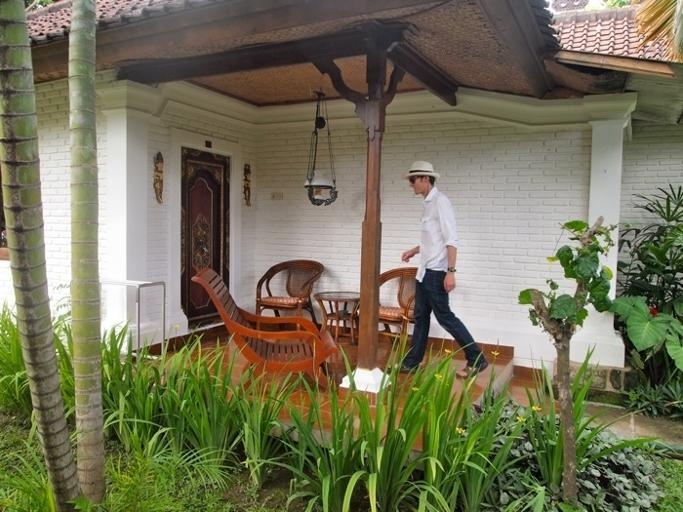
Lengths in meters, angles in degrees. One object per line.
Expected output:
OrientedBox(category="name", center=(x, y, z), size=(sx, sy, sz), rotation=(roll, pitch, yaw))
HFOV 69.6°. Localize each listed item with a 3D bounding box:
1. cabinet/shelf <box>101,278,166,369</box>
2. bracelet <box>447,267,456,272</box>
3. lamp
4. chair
OrientedBox(category="cabinet/shelf", center=(-2.248, 0.702, 5.270), size=(0.877, 0.789, 0.317), rotation=(-3, -5, 25))
OrientedBox(category="bracelet", center=(1.092, 0.132, 4.879), size=(0.063, 0.043, 0.060), rotation=(0, -8, -12))
OrientedBox(category="lamp", center=(-0.284, -1.513, 7.069), size=(0.481, 1.545, 0.972), rotation=(0, 3, -3))
OrientedBox(category="chair", center=(-0.767, 0.690, 5.359), size=(1.619, 1.114, 2.516), rotation=(-1, 2, -22))
